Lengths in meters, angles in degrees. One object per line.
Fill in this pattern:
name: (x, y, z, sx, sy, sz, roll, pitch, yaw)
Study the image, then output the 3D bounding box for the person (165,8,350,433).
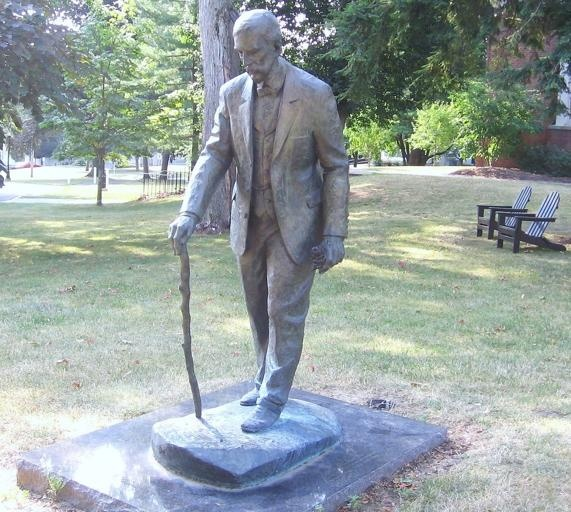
person: (-0.030, -0.209, 4.137, 0.833, 2.526, 0.603, 1, 9, 4)
